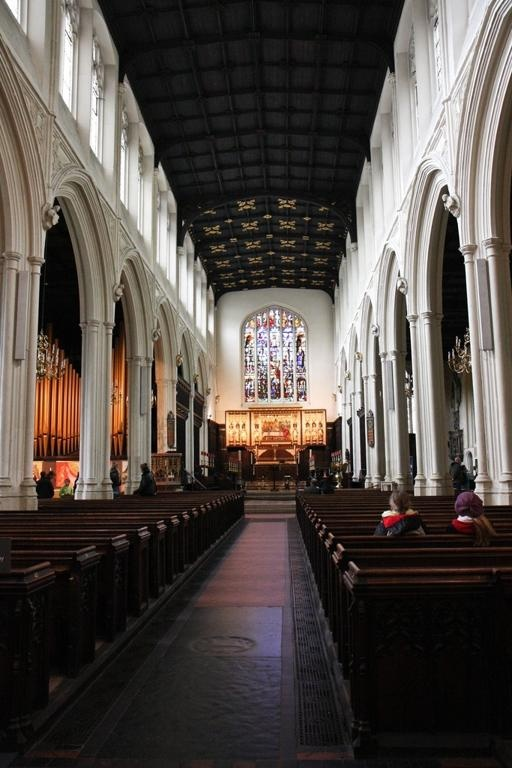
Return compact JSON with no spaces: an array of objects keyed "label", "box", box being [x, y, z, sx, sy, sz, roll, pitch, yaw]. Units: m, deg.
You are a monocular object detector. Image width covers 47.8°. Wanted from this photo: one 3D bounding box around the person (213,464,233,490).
[{"label":"person","box":[-1.430,4.216,25.436,0.812,1.419,0.699,-2,-6,-5]}]
